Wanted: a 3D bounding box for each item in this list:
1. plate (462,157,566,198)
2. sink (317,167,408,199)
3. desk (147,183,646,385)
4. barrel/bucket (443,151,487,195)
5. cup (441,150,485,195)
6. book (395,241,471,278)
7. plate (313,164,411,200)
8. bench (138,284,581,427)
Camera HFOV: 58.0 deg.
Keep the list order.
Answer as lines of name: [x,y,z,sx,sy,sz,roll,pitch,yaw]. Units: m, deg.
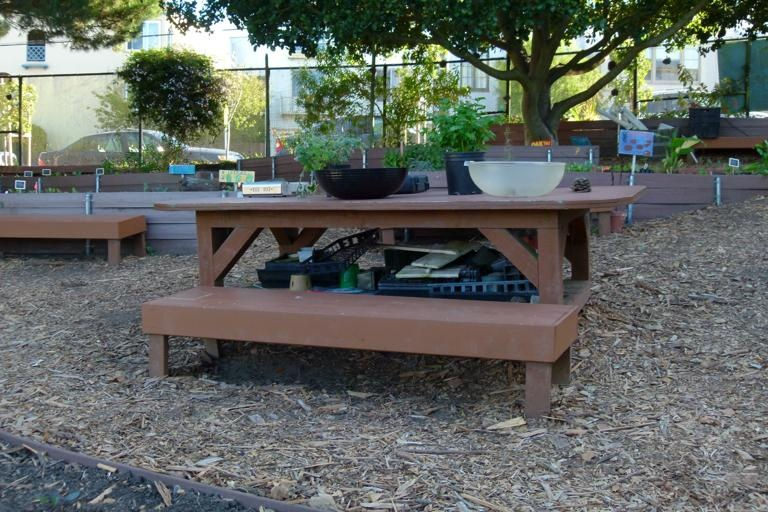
plate: [0.788,-0.481,4.286,0.585,0.174,0.527,0,4,0]
sink: [-0.131,-0.510,4.847,0.649,0.205,0.532,3,7,25]
desk: [-0.338,-0.017,5.387,4.234,1.441,2.408,-3,18,-15]
barrel/bucket: [0.467,-0.546,4.611,0.333,0.279,0.301,-2,7,-11]
cup: [0.519,-0.560,4.600,0.270,0.284,0.230,3,14,22]
book: [0.379,0.031,4.941,0.300,0.097,0.390,6,12,38]
plate: [-0.082,-0.510,4.712,0.640,0.214,0.502,3,7,23]
bench: [-0.160,0.578,4.296,2.587,0.674,0.403,0,9,14]
